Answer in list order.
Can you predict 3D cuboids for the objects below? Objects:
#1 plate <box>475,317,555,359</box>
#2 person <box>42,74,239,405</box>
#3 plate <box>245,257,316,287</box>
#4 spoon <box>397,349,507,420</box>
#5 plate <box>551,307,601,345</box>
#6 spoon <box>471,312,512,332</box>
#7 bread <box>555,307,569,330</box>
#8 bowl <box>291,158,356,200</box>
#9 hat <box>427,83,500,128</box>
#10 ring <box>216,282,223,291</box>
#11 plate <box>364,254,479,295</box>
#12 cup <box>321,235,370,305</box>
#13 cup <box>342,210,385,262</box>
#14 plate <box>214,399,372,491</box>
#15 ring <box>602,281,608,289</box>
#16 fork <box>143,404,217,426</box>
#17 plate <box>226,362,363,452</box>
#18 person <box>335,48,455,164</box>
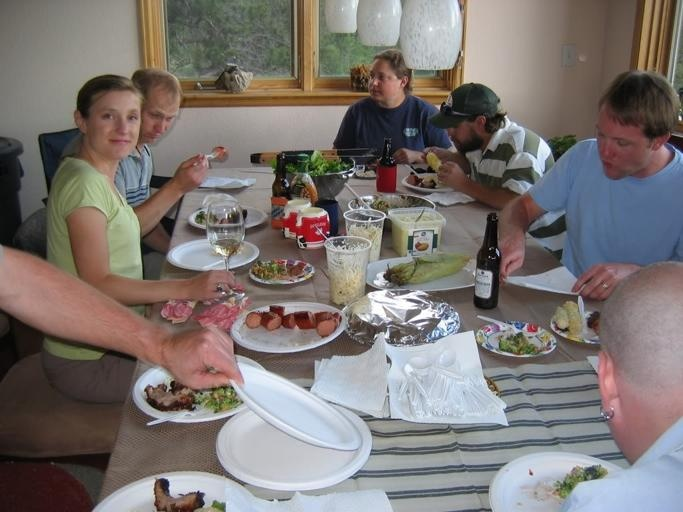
[{"bbox_3d":[0.480,0.204,1.464,0.226,0.085,0.184,-10,19,-33],"label":"plate"},{"bbox_3d":[-0.776,0.025,1.930,0.592,1.472,0.569,0,11,-1],"label":"person"},{"bbox_3d":[-0.210,0.017,1.834,0.233,0.087,0.227,-9,19,-37],"label":"plate"},{"bbox_3d":[0.241,0.278,1.141,0.157,0.047,0.135,-1,32,7],"label":"spoon"},{"bbox_3d":[0.679,0.175,1.449,0.110,0.103,0.131,-4,16,-13],"label":"plate"},{"bbox_3d":[0.451,0.192,1.496,0.029,0.024,0.126,-9,12,-28],"label":"spoon"},{"bbox_3d":[0.644,0.183,1.473,0.037,0.052,0.015,-5,-14,19],"label":"bread"},{"bbox_3d":[-0.067,-0.358,2.390,0.273,0.193,0.323,-4,18,-20],"label":"bowl"},{"bbox_3d":[0.700,-0.887,2.984,0.323,0.266,0.422,0,19,-13],"label":"hat"},{"bbox_3d":[-0.403,0.096,1.673,0.018,0.025,0.026,-19,45,-21],"label":"ring"},{"bbox_3d":[0.281,0.024,1.750,0.325,0.115,0.288,-1,16,-7],"label":"plate"},{"bbox_3d":[0.008,0.044,1.688,0.159,0.212,0.198,15,23,38],"label":"cup"},{"bbox_3d":[0.076,-0.097,1.909,0.118,0.200,0.147,-9,20,-30],"label":"cup"},{"bbox_3d":[-0.100,0.399,1.051,0.320,0.042,0.197,2,25,1],"label":"plate"},{"bbox_3d":[0.847,0.093,1.617,0.015,0.012,0.016,-2,0,0],"label":"ring"},{"bbox_3d":[-0.357,0.356,1.131,0.149,0.028,0.050,-4,25,-10],"label":"fork"},{"bbox_3d":[-0.102,0.292,1.088,0.278,0.153,0.290,-3,18,-15],"label":"plate"},{"bbox_3d":[0.435,-1.167,4.163,0.749,1.115,0.846,-7,21,-30],"label":"person"}]
